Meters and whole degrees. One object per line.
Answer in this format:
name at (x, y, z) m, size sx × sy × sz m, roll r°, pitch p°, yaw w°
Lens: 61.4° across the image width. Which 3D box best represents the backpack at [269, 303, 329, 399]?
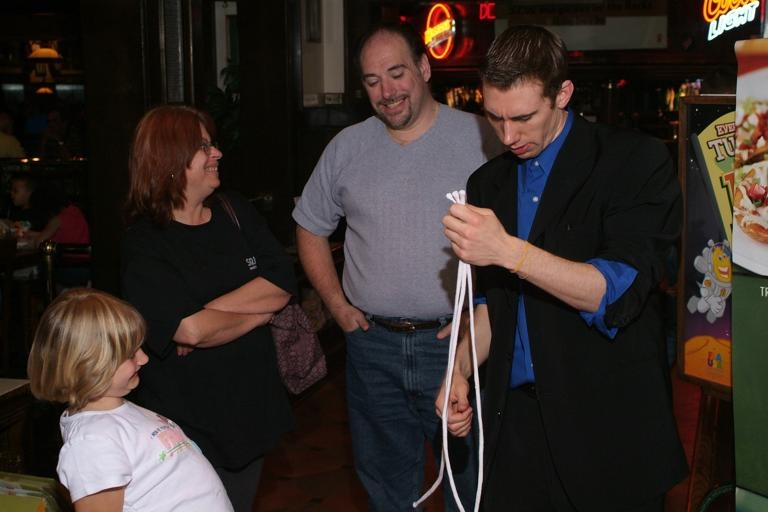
backpack at (-0.407, 0.429, 3.015) m, size 0.249 × 0.420 × 0.097 m, roll -21°, pitch 13°, yaw -33°
